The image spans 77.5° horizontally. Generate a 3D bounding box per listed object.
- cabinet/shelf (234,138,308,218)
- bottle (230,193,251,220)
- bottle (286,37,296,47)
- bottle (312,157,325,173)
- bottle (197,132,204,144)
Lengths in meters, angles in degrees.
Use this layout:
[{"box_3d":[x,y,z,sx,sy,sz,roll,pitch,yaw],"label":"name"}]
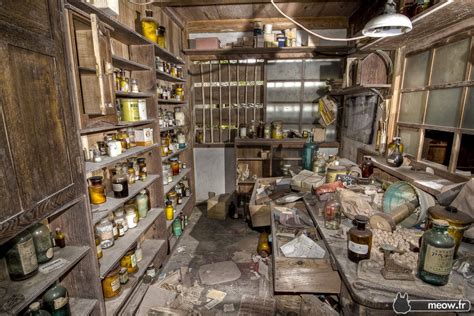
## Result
[{"box_3d":[0.574,0.322,4.941,1.786,1.485,0.493,0,2,1],"label":"cabinet/shelf"},{"box_3d":[0.058,0.943,5.639,0.412,0.506,0.129,1,-1,-2],"label":"bottle"},{"box_3d":[0.975,-2.116,5.435,0.190,0.175,0.181,5,26,-9],"label":"bottle"},{"box_3d":[1.160,0.107,4.262,0.209,0.202,0.196,2,8,13],"label":"bottle"},{"box_3d":[-0.774,-0.427,6.181,0.176,0.245,0.145,5,13,24],"label":"bottle"}]
